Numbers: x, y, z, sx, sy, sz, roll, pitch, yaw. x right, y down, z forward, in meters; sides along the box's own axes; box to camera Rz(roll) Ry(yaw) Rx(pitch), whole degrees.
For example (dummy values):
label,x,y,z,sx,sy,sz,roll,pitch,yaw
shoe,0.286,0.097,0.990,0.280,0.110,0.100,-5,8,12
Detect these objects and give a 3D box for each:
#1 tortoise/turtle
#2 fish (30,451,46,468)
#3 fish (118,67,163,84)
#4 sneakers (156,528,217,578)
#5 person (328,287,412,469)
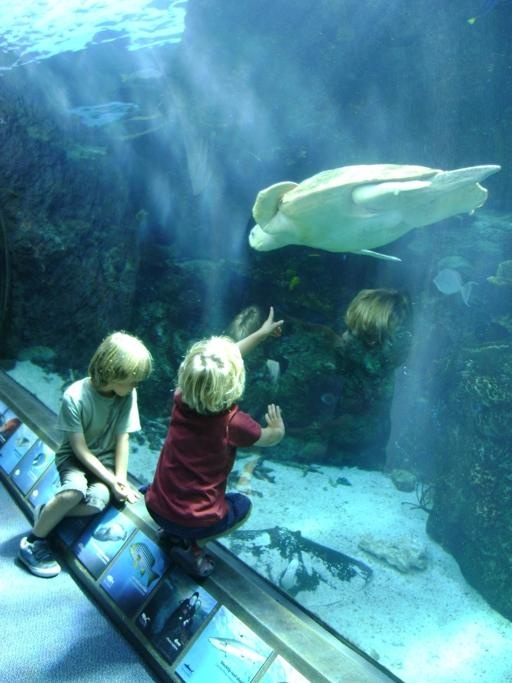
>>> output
label,x,y,z,sx,sy,sz,roll,pitch,yaw
tortoise/turtle,0.358,-0.473,2.058,0.824,0.317,0.309,16,7,16
fish,-1.016,0.556,2.717,0.063,0.060,0.017,-6,-38,21
fish,-0.537,-1.257,2.736,0.026,0.043,0.342,9,8,-43
sneakers,-0.262,0.767,2.159,0.092,0.097,0.248,-12,30,-42
person,0.326,0.070,2.127,0.285,0.805,0.248,7,33,26
